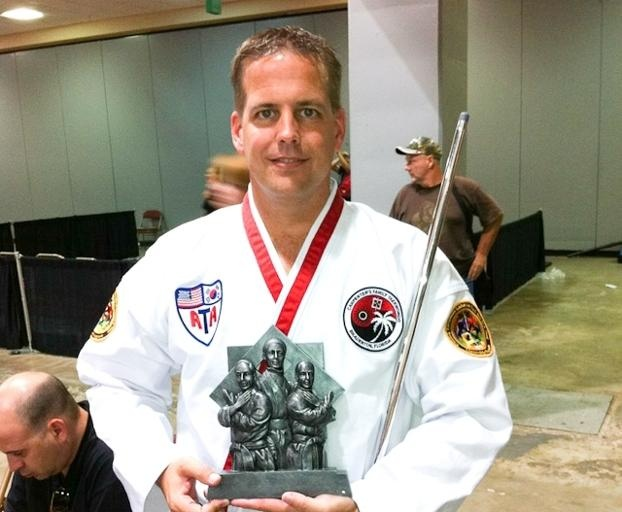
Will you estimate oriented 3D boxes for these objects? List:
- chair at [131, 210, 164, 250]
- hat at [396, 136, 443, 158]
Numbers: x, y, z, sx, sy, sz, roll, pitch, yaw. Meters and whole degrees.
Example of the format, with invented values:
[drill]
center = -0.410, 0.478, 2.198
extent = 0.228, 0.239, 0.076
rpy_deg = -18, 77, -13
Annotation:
[chair]
center = -3.087, -0.428, 11.854
extent = 0.470, 0.817, 0.591
rpy_deg = -2, -3, -12
[hat]
center = 0.803, -0.777, 4.555
extent = 0.244, 0.162, 0.184
rpy_deg = 8, -3, -5
